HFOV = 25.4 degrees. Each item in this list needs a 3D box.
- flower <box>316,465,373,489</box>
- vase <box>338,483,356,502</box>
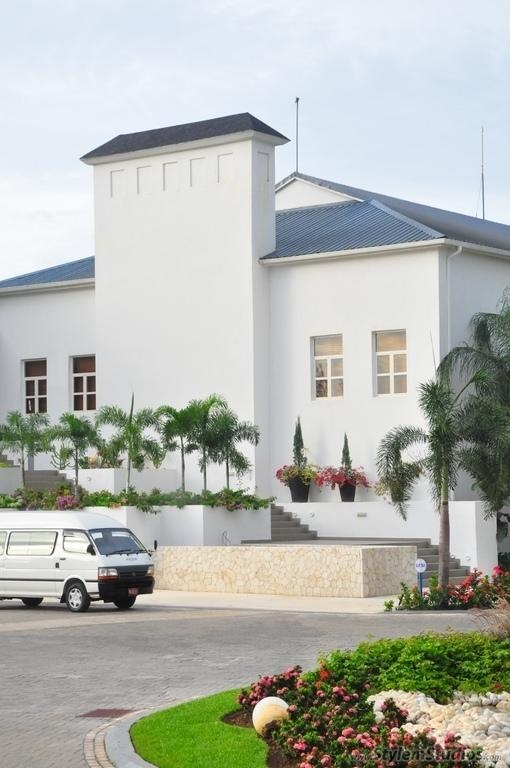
[{"bbox_3d":[2.364,2.529,29.983,1.397,0.564,0.759,-1,-3,6],"label":"flower"},{"bbox_3d":[2.437,2.931,29.817,0.396,0.603,0.417,1,-6,-15],"label":"vase"}]
